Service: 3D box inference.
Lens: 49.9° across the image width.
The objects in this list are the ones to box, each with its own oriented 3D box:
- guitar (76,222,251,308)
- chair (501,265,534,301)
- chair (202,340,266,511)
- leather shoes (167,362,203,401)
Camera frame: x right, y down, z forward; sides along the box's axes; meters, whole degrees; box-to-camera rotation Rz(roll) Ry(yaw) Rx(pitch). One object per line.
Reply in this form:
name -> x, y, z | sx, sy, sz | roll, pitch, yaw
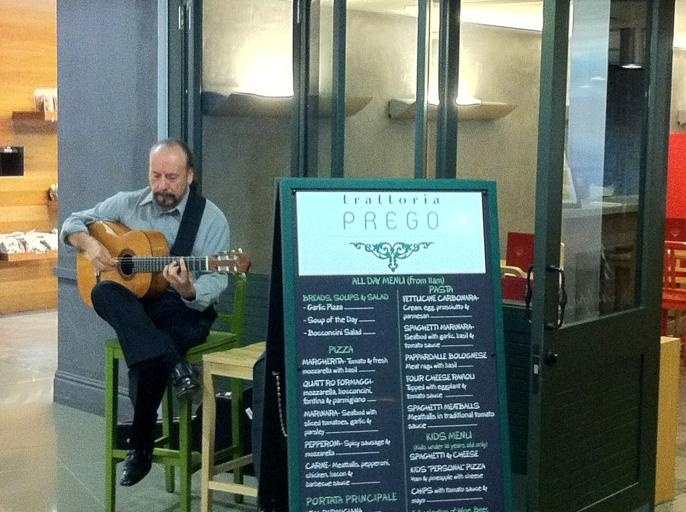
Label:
guitar -> -0.955, 0.047, 3.665 | 1.074, 0.406, 0.385 | 2, 13, 28
chair -> 0.831, 0.119, 3.532 | 0.193, 0.135, 0.147 | 10, 24, 23
chair -> -0.510, 0.856, 3.476 | 0.356, 0.817, 0.447 | -5, 11, -7
leather shoes -> -0.765, 0.604, 3.561 | 0.111, 0.170, 0.178 | -10, 12, -27
